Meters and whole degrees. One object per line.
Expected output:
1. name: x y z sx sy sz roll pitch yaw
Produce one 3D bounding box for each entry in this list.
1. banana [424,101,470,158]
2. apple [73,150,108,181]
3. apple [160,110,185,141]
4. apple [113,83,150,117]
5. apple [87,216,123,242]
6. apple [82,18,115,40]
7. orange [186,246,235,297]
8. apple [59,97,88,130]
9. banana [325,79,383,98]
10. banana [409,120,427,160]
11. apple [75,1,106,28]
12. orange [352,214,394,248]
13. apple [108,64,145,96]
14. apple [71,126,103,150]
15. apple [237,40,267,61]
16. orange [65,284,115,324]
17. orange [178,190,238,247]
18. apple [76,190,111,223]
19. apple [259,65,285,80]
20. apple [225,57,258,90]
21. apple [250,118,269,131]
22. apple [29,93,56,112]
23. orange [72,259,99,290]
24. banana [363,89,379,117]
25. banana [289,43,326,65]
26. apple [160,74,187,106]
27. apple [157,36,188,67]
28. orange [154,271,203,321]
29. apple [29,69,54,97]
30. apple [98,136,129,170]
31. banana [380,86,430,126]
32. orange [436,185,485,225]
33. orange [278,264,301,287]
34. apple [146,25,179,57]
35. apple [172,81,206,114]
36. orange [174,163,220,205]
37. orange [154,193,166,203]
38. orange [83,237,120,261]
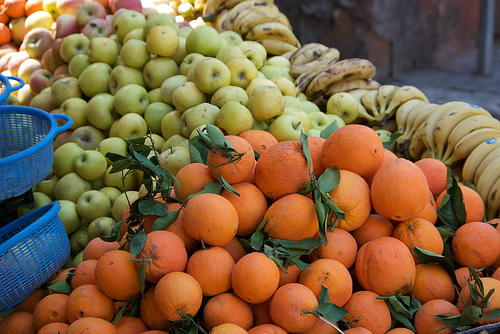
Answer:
1. banana: 1.106 -0.251 2.700 0.214 0.330 0.085 15 -5 4
2. apple: -0.984 -0.013 2.845 0.173 0.201 0.193 -1 -21 -9
3. apple: -0.508 -0.247 2.906 0.113 0.147 0.119 22 20 33
4. apple: -0.761 -0.421 3.013 0.194 0.210 0.199 17 -30 -21
5. apple: -0.782 0.335 2.495 0.107 0.125 0.116 3 45 8
6. apple: -1.166 -1.089 3.558 0.173 0.211 0.199 -4 48 -6
7. orange: -0.163 0.425 1.926 0.175 0.194 0.187 2 3 4
8. apple: -1.184 -0.357 3.152 0.188 0.210 0.188 -9 8 -30
9. banana: 0.719 -0.552 3.264 0.373 0.140 0.108 -3 26 -7
10. banana: 1.012 -0.165 2.832 0.070 0.236 0.057 9 6 -38
11. apple: -1.255 -1.161 3.703 0.196 0.223 0.199 -15 8 -7
12. orange: 0.571 0.283 2.143 0.138 0.156 0.142 12 -13 35
13. apple: -0.852 -0.592 3.173 0.208 0.224 0.211 -3 24 0
14. apple: -1.077 -0.197 3.047 0.146 0.172 0.155 5 9 -8
15. apple: 0.015 -0.879 3.351 0.162 0.088 0.164 8 17 -36
16. orange: -0.683 0.579 2.040 0.157 0.169 0.157 26 6 8
17. orange: -0.186 0.252 2.045 0.281 0.243 0.228 10 6 30
18. apple: -0.950 0.241 2.843 0.179 0.182 0.180 25 26 -38
19. apple: 0.166 -0.663 3.217 0.108 0.087 0.136 -1 11 -44
20. apple: -0.051 -0.584 2.853 0.153 0.186 0.174 6 24 -3
21. apple: 0.055 -0.238 2.605 0.064 0.088 0.067 -5 4 -21
22. apple: -1.514 -0.465 3.417 0.150 0.146 0.137 10 -9 12
23. orange: -0.741 0.483 2.141 0.120 0.131 0.134 5 -26 3
24. banana: 0.831 -0.441 3.177 0.108 0.126 0.228 8 24 11
25. banana: 0.411 -0.892 3.578 0.197 0.060 0.150 -36 33 -14
26. apple: -0.477 -0.492 3.049 0.143 0.157 0.198 13 -11 16
27. apple: -0.532 -0.775 3.208 0.173 0.240 0.185 6 6 -1
28. orange: -0.292 0.549 1.899 0.199 0.216 0.106 -3 23 -14
29. apple: -1.650 -0.635 3.579 0.125 0.147 0.137 -6 -1 -15
30. apple: -0.772 -0.076 2.597 0.134 0.127 0.121 23 36 25
31. banana: 1.048 -0.391 3.151 0.293 0.105 0.240 -25 49 3
32. orange: 0.982 0.156 2.241 0.184 0.197 0.188 -20 7 -25
33. orange: 0.165 0.461 2.028 0.078 0.107 0.083 14 13 -4
34. apple: -0.555 -0.849 3.096 0.165 0.172 0.183 -30 62 -1
35. apple: -0.378 -0.427 2.901 0.155 0.174 0.177 4 -24 2
36. orange: -0.245 0.083 2.198 0.186 0.180 0.180 -7 56 17
37. orange: -0.420 0.142 2.162 0.042 0.037 0.045 0 -2 3
38. orange: -0.705 0.396 2.220 0.125 0.138 0.137 5 -13 3
